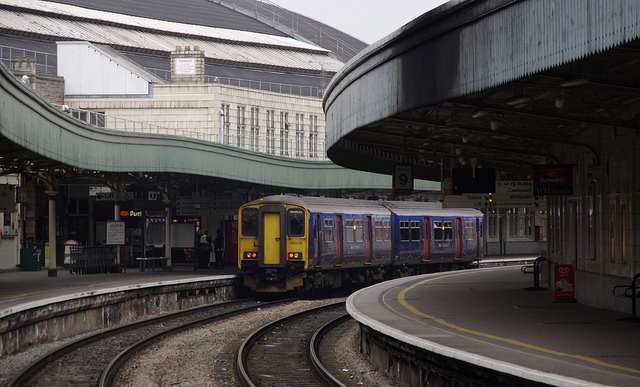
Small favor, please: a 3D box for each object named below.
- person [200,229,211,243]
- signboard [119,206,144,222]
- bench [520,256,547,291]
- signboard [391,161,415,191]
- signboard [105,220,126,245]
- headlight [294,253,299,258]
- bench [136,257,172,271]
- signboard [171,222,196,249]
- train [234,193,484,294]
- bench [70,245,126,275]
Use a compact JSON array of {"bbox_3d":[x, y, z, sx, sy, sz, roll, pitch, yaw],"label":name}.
[{"bbox_3d":[-5.868,2.203,46.103,0.707,0.803,0.432,-1,-8,7],"label":"person"},{"bbox_3d":[-11.070,1.181,52.558,1.877,1.001,0.537,-4,-5,25],"label":"signboard"},{"bbox_3d":[8.361,2.844,34.122,1.050,0.980,1.466,-6,16,-2],"label":"bench"},{"bbox_3d":[3.227,-0.746,33.731,0.794,1.155,0.674,3,24,11],"label":"signboard"},{"bbox_3d":[-9.739,1.865,42.505,1.251,1.542,0.158,-1,2,-9],"label":"signboard"},{"bbox_3d":[-0.950,2.568,37.081,0.199,0.210,0.054,0,0,2],"label":"headlight"},{"bbox_3d":[-8.576,3.620,45.859,1.506,0.723,3.375,-1,-5,-13],"label":"bench"},{"bbox_3d":[-7.870,2.425,51.531,1.464,1.559,0.610,-1,-4,-3],"label":"signboard"},{"bbox_3d":[1.666,2.298,39.774,3.221,5.008,19.113,-4,-6,34],"label":"train"},{"bbox_3d":[-10.918,3.236,42.831,1.281,0.935,2.011,-7,-7,42],"label":"bench"}]
